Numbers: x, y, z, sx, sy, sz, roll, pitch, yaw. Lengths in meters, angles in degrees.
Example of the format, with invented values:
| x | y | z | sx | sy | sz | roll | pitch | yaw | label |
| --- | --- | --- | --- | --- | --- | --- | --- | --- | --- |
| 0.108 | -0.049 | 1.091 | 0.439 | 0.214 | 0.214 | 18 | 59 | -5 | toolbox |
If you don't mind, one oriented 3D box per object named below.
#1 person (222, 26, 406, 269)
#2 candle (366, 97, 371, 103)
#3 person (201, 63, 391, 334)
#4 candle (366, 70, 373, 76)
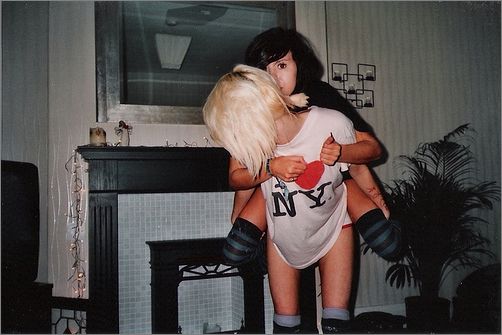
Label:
| x | y | z | sx | sy | sz | roll | pitch | yaw | label |
| --- | --- | --- | --- | --- | --- | --- | --- | --- | --- |
| 0.282 | -0.069 | 2.885 | 1.300 | 1.511 | 0.936 | -10 | 15 | -17 | person |
| 1.078 | -0.614 | 4.178 | 0.063 | 0.067 | 0.037 | -2 | -15 | 16 | candle |
| 0.233 | 0.201 | 2.672 | 0.980 | 1.593 | 0.285 | -1 | -2 | -7 | person |
| 1.089 | -0.869 | 4.182 | 0.036 | 0.057 | 0.057 | 11 | -27 | 1 | candle |
